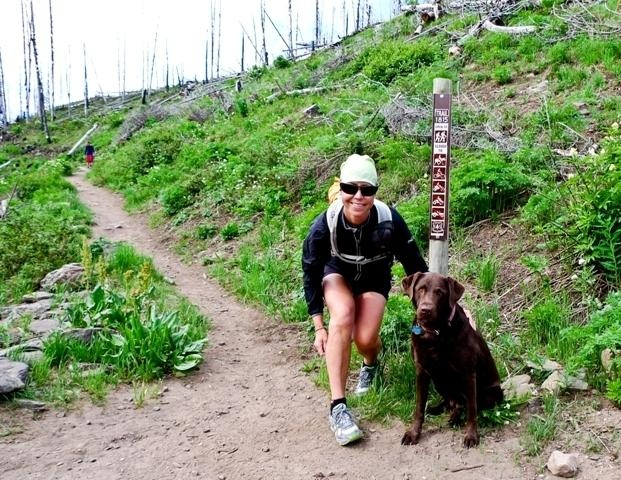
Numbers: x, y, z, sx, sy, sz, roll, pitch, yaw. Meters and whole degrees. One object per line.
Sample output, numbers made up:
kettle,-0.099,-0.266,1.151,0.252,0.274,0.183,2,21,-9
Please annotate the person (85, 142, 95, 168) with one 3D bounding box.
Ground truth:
person,-9.314,-3.607,24.360,0.344,1.024,1.551,-11,11,-20

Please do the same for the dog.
dog,1.396,1.046,5.583,0.704,1.593,1.417,0,7,36
